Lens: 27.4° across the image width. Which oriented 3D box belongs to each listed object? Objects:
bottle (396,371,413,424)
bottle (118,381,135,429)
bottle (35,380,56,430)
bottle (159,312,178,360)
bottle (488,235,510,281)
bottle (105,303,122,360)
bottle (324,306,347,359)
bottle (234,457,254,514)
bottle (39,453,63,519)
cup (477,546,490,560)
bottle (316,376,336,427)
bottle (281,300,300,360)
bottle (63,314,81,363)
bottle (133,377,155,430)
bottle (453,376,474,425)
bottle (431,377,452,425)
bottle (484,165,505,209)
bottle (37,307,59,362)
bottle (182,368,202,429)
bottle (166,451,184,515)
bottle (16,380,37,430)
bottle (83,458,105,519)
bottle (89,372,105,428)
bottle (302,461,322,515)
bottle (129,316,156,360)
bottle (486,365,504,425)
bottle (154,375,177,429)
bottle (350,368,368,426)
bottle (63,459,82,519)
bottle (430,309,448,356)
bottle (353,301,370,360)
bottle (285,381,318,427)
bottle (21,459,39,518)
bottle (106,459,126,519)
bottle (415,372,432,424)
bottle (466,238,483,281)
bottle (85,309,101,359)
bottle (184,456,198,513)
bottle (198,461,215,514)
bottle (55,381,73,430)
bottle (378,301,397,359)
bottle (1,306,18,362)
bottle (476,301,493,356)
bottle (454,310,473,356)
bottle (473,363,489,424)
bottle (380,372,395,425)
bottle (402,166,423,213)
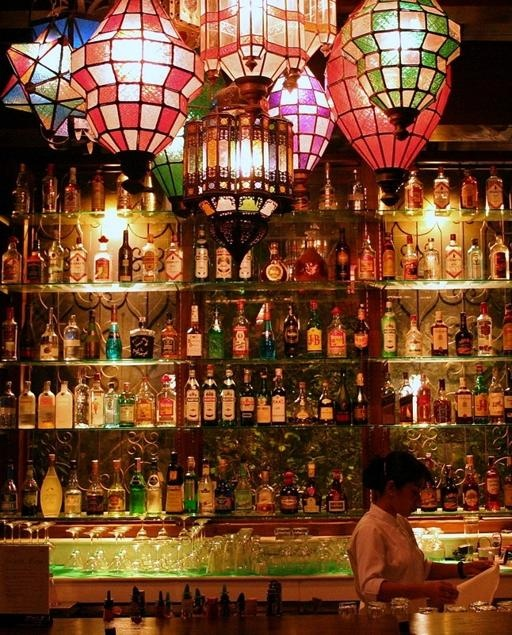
[{"bbox_3d":[0.756,0.406,5.336,0.083,0.259,0.225,-2,-7,7],"label":"bottle"},{"bbox_3d":[-0.650,0.453,5.217,0.078,0.171,0.091,-1,-7,-7],"label":"bottle"},{"bbox_3d":[-1.054,0.437,5.242,0.088,0.227,0.208,0,-7,-11],"label":"bottle"},{"bbox_3d":[-0.456,0.099,5.386,0.090,0.225,0.338,-1,-7,-6],"label":"bottle"},{"bbox_3d":[1.246,-0.310,5.410,0.109,0.269,0.296,-3,-7,13],"label":"bottle"},{"bbox_3d":[-0.737,0.087,5.376,0.085,0.286,0.363,0,-7,-9],"label":"bottle"},{"bbox_3d":[0.404,0.085,5.361,0.105,0.254,0.295,-2,-7,5],"label":"bottle"},{"bbox_3d":[-0.069,0.840,5.270,0.096,0.257,0.260,-1,-7,0],"label":"bottle"},{"bbox_3d":[-1.044,0.840,5.288,0.118,0.306,0.265,0,-7,-11],"label":"bottle"},{"bbox_3d":[1.099,1.134,5.070,0.060,0.057,0.056,1,-20,0],"label":"cup"},{"bbox_3d":[0.349,0.423,5.338,0.083,0.226,0.241,-2,-7,3],"label":"bottle"},{"bbox_3d":[0.176,0.066,5.404,0.098,0.294,0.226,-2,-7,2],"label":"bottle"},{"bbox_3d":[-0.956,0.099,5.417,0.097,0.267,0.291,0,-7,-10],"label":"bottle"},{"bbox_3d":[-0.570,0.428,5.337,0.104,0.247,0.303,-1,-7,-6],"label":"bottle"},{"bbox_3d":[1.041,0.415,5.284,0.092,0.229,0.144,-3,-7,10],"label":"bottle"},{"bbox_3d":[0.927,0.420,5.277,0.083,0.218,0.219,-3,-7,9],"label":"bottle"},{"bbox_3d":[1.216,-0.648,5.382,0.087,0.217,0.148,-3,-7,11],"label":"bottle"},{"bbox_3d":[-1.077,0.083,5.412,0.106,0.300,0.309,0,-7,-11],"label":"bottle"},{"bbox_3d":[-0.334,0.391,5.310,0.092,0.304,0.278,-1,-7,-4],"label":"bottle"},{"bbox_3d":[-0.410,0.812,5.189,0.087,0.288,0.167,-1,-7,-5],"label":"bottle"},{"bbox_3d":[-1.148,0.433,5.217,0.083,0.229,0.118,0,-7,-14],"label":"bottle"},{"bbox_3d":[-0.821,0.850,5.311,0.105,0.264,0.264,0,-7,-10],"label":"bottle"},{"bbox_3d":[-0.804,0.432,5.253,0.078,0.233,0.165,0,-7,-9],"label":"bottle"},{"bbox_3d":[0.268,0.843,5.219,0.085,0.235,0.181,-2,-7,1],"label":"bottle"},{"bbox_3d":[-0.593,0.114,5.367,0.117,0.210,0.217,-1,-7,-7],"label":"bottle"},{"bbox_3d":[1.217,0.392,5.343,0.081,0.282,0.220,-3,-7,13],"label":"bottle"},{"bbox_3d":[-0.463,0.417,5.343,0.107,0.271,0.306,-1,-7,-5],"label":"bottle"},{"bbox_3d":[0.521,0.402,5.346,0.079,0.269,0.190,-2,-7,5],"label":"bottle"},{"bbox_3d":[-0.931,0.852,5.291,0.088,0.269,0.271,0,-7,-10],"label":"bottle"},{"bbox_3d":[0.927,0.088,5.342,0.083,0.225,0.186,-3,-7,8],"label":"bottle"},{"bbox_3d":[0.528,0.060,5.360,0.084,0.277,0.274,-2,-7,5],"label":"bottle"},{"bbox_3d":[0.235,0.434,5.418,0.152,0.203,0.151,-3,0,0],"label":"bottle"},{"bbox_3d":[-1.146,0.853,5.289,0.079,0.266,0.279,0,-7,-12],"label":"bottle"},{"bbox_3d":[-0.712,0.847,5.301,0.096,0.264,0.257,0,-7,-8],"label":"bottle"},{"bbox_3d":[0.838,0.409,5.300,0.075,0.246,0.170,-2,-7,7],"label":"bottle"},{"bbox_3d":[1.122,-0.299,5.428,0.090,0.246,0.276,-3,-7,12],"label":"bottle"},{"bbox_3d":[-0.853,0.095,5.424,0.079,0.262,0.281,0,-7,-8],"label":"bottle"},{"bbox_3d":[-0.330,0.824,5.200,0.069,0.267,0.184,-1,-7,-4],"label":"bottle"},{"bbox_3d":[-0.252,0.831,5.205,0.086,0.255,0.184,-1,-7,-3],"label":"bottle"},{"bbox_3d":[-0.969,0.437,5.243,0.086,0.227,0.086,-1,-7,0],"label":"bottle"},{"bbox_3d":[0.677,0.065,5.392,0.082,0.293,0.266,-2,-7,7],"label":"bottle"},{"bbox_3d":[-1.261,0.090,5.295,0.072,0.270,0.222,1,-7,-20],"label":"bottle"},{"bbox_3d":[1.175,0.066,5.414,0.088,0.279,0.263,-3,-7,11],"label":"bottle"},{"bbox_3d":[1.060,0.091,5.381,0.092,0.226,0.325,-3,-7,11],"label":"bottle"},{"bbox_3d":[1.138,0.393,5.347,0.074,0.282,0.236,-3,-7,12],"label":"bottle"},{"bbox_3d":[0.658,0.416,5.319,0.099,0.324,0.091,4,-38,3],"label":"bottle"},{"bbox_3d":[0.808,-0.668,5.425,0.167,0.252,0.155,-5,9,1],"label":"bottle"}]
